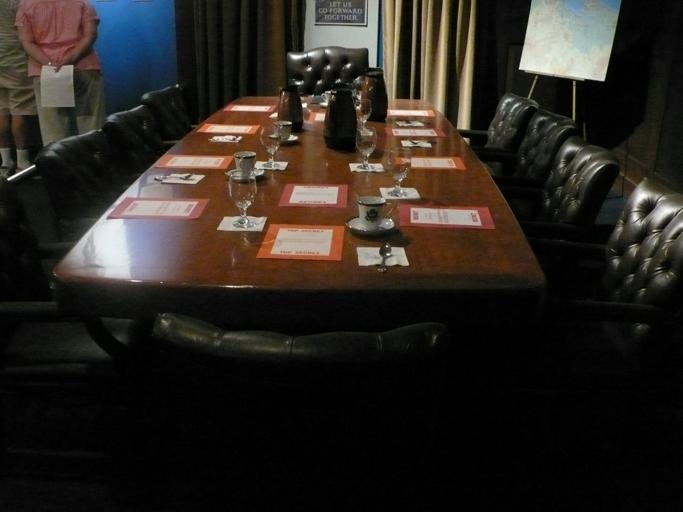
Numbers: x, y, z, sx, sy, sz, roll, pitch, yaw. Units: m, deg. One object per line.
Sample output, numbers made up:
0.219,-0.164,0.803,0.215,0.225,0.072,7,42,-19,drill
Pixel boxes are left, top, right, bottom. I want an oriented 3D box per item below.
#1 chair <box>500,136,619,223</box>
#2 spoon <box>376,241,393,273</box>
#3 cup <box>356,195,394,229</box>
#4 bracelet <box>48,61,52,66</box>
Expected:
1.001,-0.377,2.480,0.439,0.489,0.351,-6,42,0,chair
0.112,0.000,1.478,0.024,0.016,0.118,5,31,6,spoon
0.121,-0.143,1.675,0.127,0.092,0.084,-8,14,-27,cup
-2.564,-1.690,4.532,0.028,0.031,0.014,-4,28,-13,bracelet
